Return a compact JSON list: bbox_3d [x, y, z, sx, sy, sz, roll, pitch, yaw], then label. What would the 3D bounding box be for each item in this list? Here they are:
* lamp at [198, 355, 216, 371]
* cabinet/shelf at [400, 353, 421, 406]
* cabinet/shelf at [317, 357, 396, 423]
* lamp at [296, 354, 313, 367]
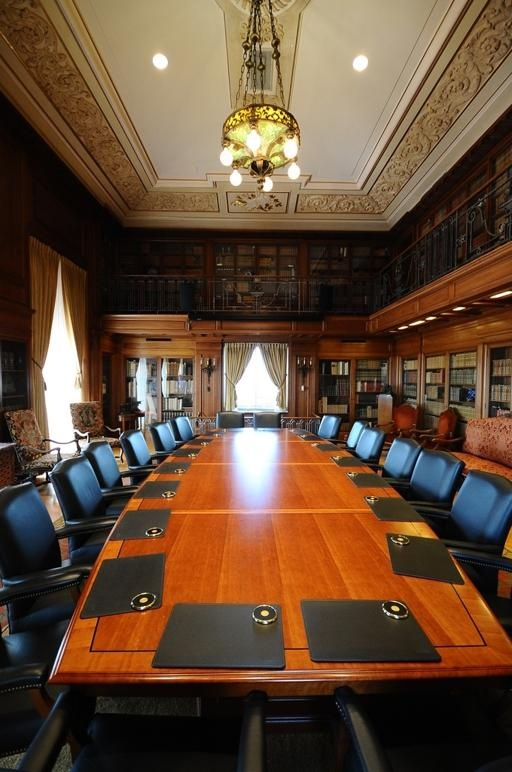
[{"bbox_3d":[-0.797,-0.361,7.759,0.337,0.381,0.185,0,-9,-3],"label":"lamp"},{"bbox_3d":[2.373,-0.114,7.215,0.251,0.812,0.785,1,0,-2],"label":"cabinet/shelf"},{"bbox_3d":[1.661,0.003,7.788,0.970,1.051,0.362,0,-1,-3],"label":"cabinet/shelf"},{"bbox_3d":[0.789,-0.407,7.719,0.188,0.208,0.049,1,-6,-8],"label":"lamp"}]
